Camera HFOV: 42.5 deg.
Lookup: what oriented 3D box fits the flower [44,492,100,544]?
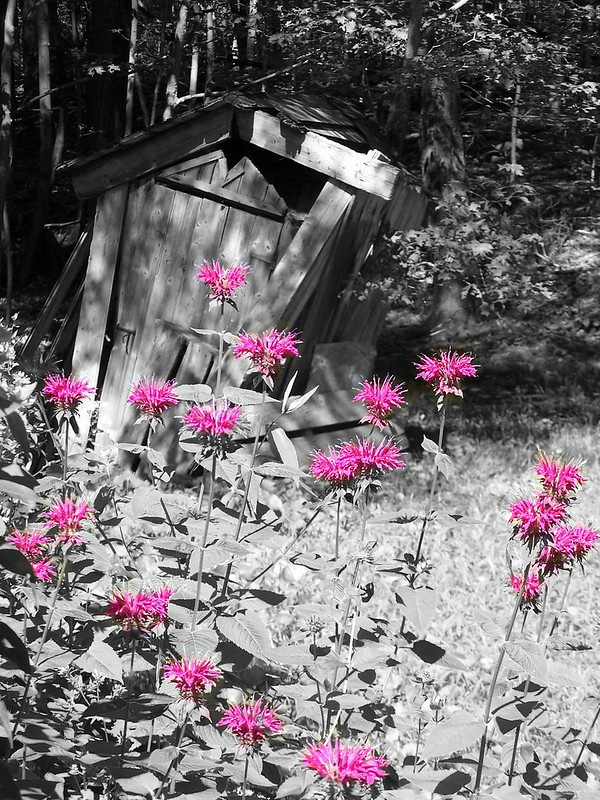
[{"bbox_3d":[-0.532,0.270,1.798,0.137,0.113,0.136,-13,-9,33],"label":"flower"}]

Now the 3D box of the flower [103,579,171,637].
[{"bbox_3d":[-0.318,0.406,1.501,0.116,0.062,0.109,5,11,-3],"label":"flower"}]
